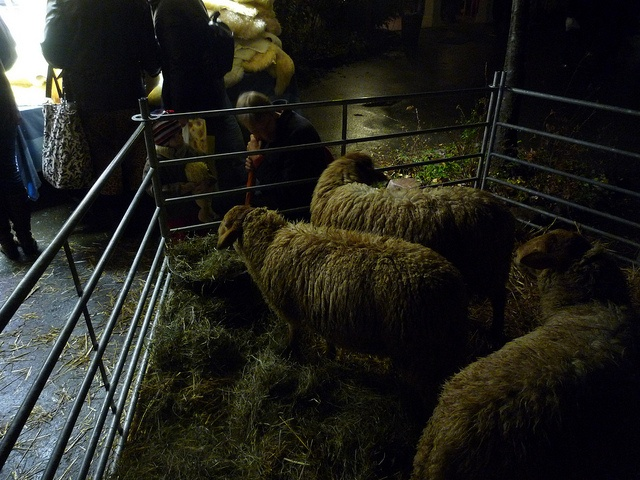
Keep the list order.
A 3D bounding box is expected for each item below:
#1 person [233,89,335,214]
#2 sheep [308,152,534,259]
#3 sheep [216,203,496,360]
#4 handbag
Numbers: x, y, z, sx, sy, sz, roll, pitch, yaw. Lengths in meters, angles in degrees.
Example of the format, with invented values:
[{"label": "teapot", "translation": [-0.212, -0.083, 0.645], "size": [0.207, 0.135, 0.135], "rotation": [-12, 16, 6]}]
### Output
[{"label": "person", "translation": [-0.296, -0.717, 5.296], "size": [1.007, 1.899, 0.941], "rotation": [-6, 36, 3]}, {"label": "sheep", "translation": [0.698, -0.152, 4.151], "size": [1.894, 0.987, 0.854], "rotation": [1, 22, 11]}, {"label": "sheep", "translation": [0.244, 0.221, 3.708], "size": [2.041, 1.037, 0.719], "rotation": [18, 39, 34]}, {"label": "handbag", "translation": [-2.939, -1.288, 5.294], "size": [0.401, 1.223, 1.120], "rotation": [-13, 22, -40]}]
